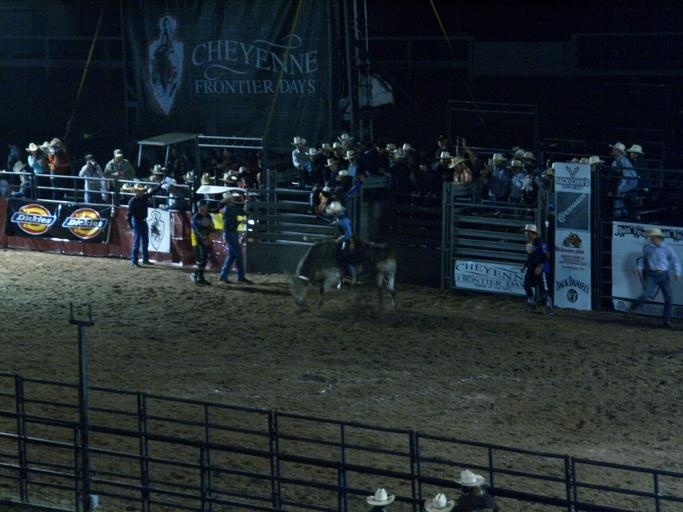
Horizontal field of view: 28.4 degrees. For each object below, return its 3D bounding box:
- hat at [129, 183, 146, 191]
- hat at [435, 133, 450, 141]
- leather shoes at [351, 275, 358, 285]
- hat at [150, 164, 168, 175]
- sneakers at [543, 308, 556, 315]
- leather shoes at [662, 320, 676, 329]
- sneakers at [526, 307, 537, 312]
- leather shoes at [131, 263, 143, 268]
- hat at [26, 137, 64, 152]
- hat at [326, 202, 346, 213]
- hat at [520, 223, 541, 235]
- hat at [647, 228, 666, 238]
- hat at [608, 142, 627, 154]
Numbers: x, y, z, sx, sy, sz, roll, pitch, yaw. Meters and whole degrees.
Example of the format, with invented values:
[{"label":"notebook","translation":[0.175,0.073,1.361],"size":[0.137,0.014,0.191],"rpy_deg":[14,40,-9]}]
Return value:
[{"label":"hat","translation":[-6.157,-2.063,41.123],"size":[0.361,0.150,0.401],"rpy_deg":[-2,-2,-2]},{"label":"hat","translation":[3.302,-3.865,44.301],"size":[0.516,0.171,0.492],"rpy_deg":[0,-1,-32]},{"label":"leather shoes","translation":[0.303,0.649,36.739],"size":[0.245,0.260,0.244],"rpy_deg":[-1,-4,32]},{"label":"hat","translation":[-5.696,-2.700,42.671],"size":[0.490,0.107,0.479],"rpy_deg":[-12,17,-40]},{"label":"sneakers","translation":[5.515,1.459,36.108],"size":[0.302,0.226,0.438],"rpy_deg":[2,5,9]},{"label":"leather shoes","translation":[8.446,1.762,35.082],"size":[0.261,0.231,0.481],"rpy_deg":[3,5,13]},{"label":"sneakers","translation":[5.077,1.433,36.219],"size":[0.252,0.146,0.097],"rpy_deg":[2,5,3]},{"label":"leather shoes","translation":[-6.156,0.301,40.630],"size":[0.312,0.098,0.128],"rpy_deg":[15,-17,-39]},{"label":"hat","translation":[-9.785,-3.605,44.615],"size":[1.068,0.424,0.758],"rpy_deg":[-13,8,-11]},{"label":"hat","translation":[-0.189,-1.300,36.170],"size":[0.358,0.341,0.351],"rpy_deg":[-16,24,-39]},{"label":"hat","translation":[4.988,-0.689,35.693],"size":[0.371,0.137,0.260],"rpy_deg":[12,8,-6]},{"label":"hat","translation":[8.030,-0.588,34.747],"size":[0.366,0.257,0.539],"rpy_deg":[2,5,7]},{"label":"hat","translation":[7.645,-2.950,37.369],"size":[0.501,0.202,0.554],"rpy_deg":[7,3,18]}]
